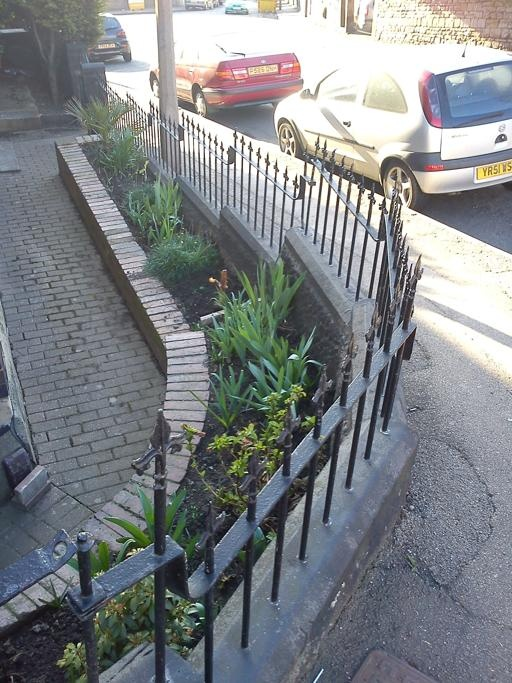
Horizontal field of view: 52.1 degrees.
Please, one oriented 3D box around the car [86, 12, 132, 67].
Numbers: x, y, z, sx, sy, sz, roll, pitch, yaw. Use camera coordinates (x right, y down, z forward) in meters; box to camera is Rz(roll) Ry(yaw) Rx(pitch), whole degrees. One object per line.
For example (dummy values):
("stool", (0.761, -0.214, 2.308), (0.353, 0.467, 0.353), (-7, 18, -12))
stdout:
("car", (-5.165, -10.700, 18.601), (0.909, 1.468, 1.854), (13, 32, 19))
